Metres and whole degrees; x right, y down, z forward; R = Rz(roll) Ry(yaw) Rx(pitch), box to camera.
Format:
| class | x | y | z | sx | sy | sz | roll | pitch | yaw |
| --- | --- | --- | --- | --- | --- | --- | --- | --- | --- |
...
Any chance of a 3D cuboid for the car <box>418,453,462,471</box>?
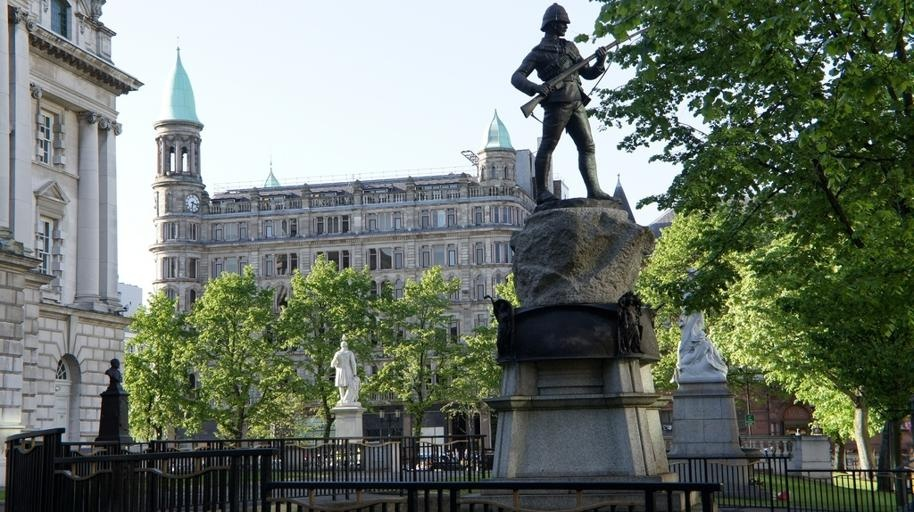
| class | x | y | z | sx | sy | sz | roll | pitch | yaw |
| --- | --- | --- | --- | --- | --- | --- | --- | --- | --- |
| car | -0.838 | 9.292 | 69.466 | 1.549 | 0.605 | 2.156 | 0 | -13 | -1 |

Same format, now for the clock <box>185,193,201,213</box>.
| class | x | y | z | sx | sy | sz | roll | pitch | yaw |
| --- | --- | --- | --- | --- | --- | --- | --- | --- | --- |
| clock | -23.771 | -4.673 | 136.967 | 0.103 | 1.652 | 1.875 | -3 | 2 | 40 |
